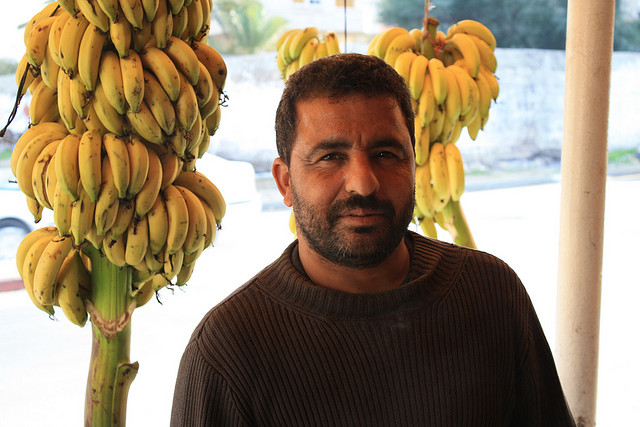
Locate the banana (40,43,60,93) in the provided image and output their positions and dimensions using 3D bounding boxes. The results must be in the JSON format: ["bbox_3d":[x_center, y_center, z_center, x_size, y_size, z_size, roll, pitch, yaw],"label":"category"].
[{"bbox_3d":[-1.436,-0.764,3.743,0.059,0.289,0.096,5,12,34],"label":"banana"}]

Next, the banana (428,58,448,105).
[{"bbox_3d":[0.761,-0.854,4.544,0.111,0.299,0.168,-2,6,1],"label":"banana"}]

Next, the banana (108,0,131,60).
[{"bbox_3d":[-1.046,-0.949,3.722,0.084,0.323,0.102,-20,17,-37],"label":"banana"}]

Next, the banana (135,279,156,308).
[{"bbox_3d":[-1.007,0.460,4.054,0.112,0.166,0.208,-4,6,-15],"label":"banana"}]

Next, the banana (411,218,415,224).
[{"bbox_3d":[0.583,0.045,4.425,0.007,0.036,0.031,6,5,26],"label":"banana"}]

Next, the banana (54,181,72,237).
[{"bbox_3d":[-1.351,-0.018,3.708,0.072,0.291,0.095,-1,-4,12],"label":"banana"}]

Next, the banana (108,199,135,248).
[{"bbox_3d":[-1.051,0.044,3.813,0.073,0.311,0.105,23,-12,-16],"label":"banana"}]

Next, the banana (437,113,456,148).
[{"bbox_3d":[0.833,-0.548,4.687,0.053,0.230,0.077,7,31,-7],"label":"banana"}]

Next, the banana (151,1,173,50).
[{"bbox_3d":[-0.835,-1.015,3.761,0.072,0.283,0.087,0,5,-1],"label":"banana"}]

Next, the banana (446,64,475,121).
[{"bbox_3d":[0.913,-0.793,4.619,0.078,0.314,0.160,-11,-7,38],"label":"banana"}]

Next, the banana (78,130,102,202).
[{"bbox_3d":[-1.199,-0.255,3.742,0.097,0.374,0.118,-8,-15,3],"label":"banana"}]

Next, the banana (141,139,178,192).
[{"bbox_3d":[-0.889,-0.268,3.914,0.074,0.258,0.202,10,24,35],"label":"banana"}]

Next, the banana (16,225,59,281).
[{"bbox_3d":[-1.578,0.202,3.901,0.225,0.291,0.086,-19,13,-22],"label":"banana"}]

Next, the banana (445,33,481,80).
[{"bbox_3d":[0.956,-1.023,4.670,0.095,0.438,0.223,-13,-31,-6],"label":"banana"}]

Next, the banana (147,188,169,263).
[{"bbox_3d":[-0.875,0.068,3.814,0.083,0.392,0.129,3,-6,-20],"label":"banana"}]

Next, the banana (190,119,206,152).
[{"bbox_3d":[-0.661,-0.447,3.960,0.074,0.214,0.048,11,-4,40],"label":"banana"}]

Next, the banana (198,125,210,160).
[{"bbox_3d":[-0.669,-0.412,4.105,0.053,0.190,0.061,9,5,-34],"label":"banana"}]

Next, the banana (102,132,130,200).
[{"bbox_3d":[-1.079,-0.256,3.759,0.105,0.349,0.146,-6,7,-33],"label":"banana"}]

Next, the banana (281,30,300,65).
[{"bbox_3d":[-0.195,-1.130,4.791,0.120,0.213,0.052,2,9,-32],"label":"banana"}]

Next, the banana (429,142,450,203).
[{"bbox_3d":[0.788,-0.276,4.694,0.102,0.383,0.117,-3,-20,-10],"label":"banana"}]

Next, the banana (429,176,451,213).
[{"bbox_3d":[0.815,-0.090,4.726,0.079,0.315,0.107,-19,17,9],"label":"banana"}]

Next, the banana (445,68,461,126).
[{"bbox_3d":[0.850,-0.758,4.532,0.081,0.336,0.100,-3,4,-21],"label":"banana"}]

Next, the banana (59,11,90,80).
[{"bbox_3d":[-1.281,-0.893,3.739,0.092,0.383,0.120,2,-15,5],"label":"banana"}]

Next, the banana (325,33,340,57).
[{"bbox_3d":[0.087,-1.150,4.770,0.098,0.157,0.131,-3,6,-5],"label":"banana"}]

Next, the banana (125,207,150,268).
[{"bbox_3d":[-0.976,0.147,3.842,0.082,0.337,0.104,11,-14,-13],"label":"banana"}]

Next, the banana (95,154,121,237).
[{"bbox_3d":[-1.109,-0.084,3.745,0.103,0.441,0.134,2,-6,-12],"label":"banana"}]

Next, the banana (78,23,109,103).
[{"bbox_3d":[-1.185,-0.824,3.762,0.091,0.432,0.145,6,-10,0],"label":"banana"}]

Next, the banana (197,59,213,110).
[{"bbox_3d":[-0.630,-0.706,3.869,0.071,0.265,0.095,-5,9,-20],"label":"banana"}]

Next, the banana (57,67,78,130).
[{"bbox_3d":[-1.342,-0.607,3.838,0.111,0.153,0.438,12,-19,-11],"label":"banana"}]

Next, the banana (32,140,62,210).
[{"bbox_3d":[-1.478,-0.208,3.749,0.086,0.326,0.229,6,7,-7],"label":"banana"}]

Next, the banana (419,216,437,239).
[{"bbox_3d":[0.734,0.096,4.799,0.095,0.174,0.042,-2,-3,14],"label":"banana"}]

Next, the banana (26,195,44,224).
[{"bbox_3d":[-1.558,-0.026,3.891,0.054,0.195,0.064,-7,12,23],"label":"banana"}]

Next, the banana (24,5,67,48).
[{"bbox_3d":[-1.500,-1.057,3.860,0.152,0.274,0.070,33,-35,-8],"label":"banana"}]

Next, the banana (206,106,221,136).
[{"bbox_3d":[-0.609,-0.524,4.106,0.053,0.210,0.068,14,-6,-31],"label":"banana"}]

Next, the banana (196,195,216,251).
[{"bbox_3d":[-0.625,0.054,4.013,0.063,0.245,0.183,0,3,17],"label":"banana"}]

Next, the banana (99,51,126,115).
[{"bbox_3d":[-1.100,-0.695,3.768,0.106,0.352,0.105,-11,-7,-27],"label":"banana"}]

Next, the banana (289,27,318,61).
[{"bbox_3d":[-0.103,-1.170,4.823,0.227,0.221,0.065,-6,7,-30],"label":"banana"}]

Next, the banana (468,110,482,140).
[{"bbox_3d":[1.044,-0.588,4.742,0.059,0.198,0.066,33,20,32],"label":"banana"}]

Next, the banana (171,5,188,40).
[{"bbox_3d":[-0.761,-1.040,3.836,0.054,0.207,0.077,3,17,-22],"label":"banana"}]

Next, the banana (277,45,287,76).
[{"bbox_3d":[-0.267,-1.062,4.878,0.040,0.202,0.066,-3,1,-34],"label":"banana"}]

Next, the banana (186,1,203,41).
[{"bbox_3d":[-0.692,-1.062,3.896,0.050,0.214,0.078,1,11,-7],"label":"banana"}]

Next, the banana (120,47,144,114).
[{"bbox_3d":[-0.978,-0.697,3.732,0.089,0.354,0.100,-5,-1,9],"label":"banana"}]

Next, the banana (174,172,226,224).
[{"bbox_3d":[-0.655,-0.113,3.966,0.178,0.310,0.084,-44,16,-7],"label":"banana"}]

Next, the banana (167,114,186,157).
[{"bbox_3d":[-0.779,-0.449,3.882,0.091,0.306,0.099,-27,-48,22],"label":"banana"}]

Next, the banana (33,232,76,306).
[{"bbox_3d":[-1.436,0.309,3.806,0.226,0.399,0.096,-4,6,-19],"label":"banana"}]

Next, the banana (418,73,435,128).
[{"bbox_3d":[0.679,-0.727,4.543,0.079,0.332,0.099,4,1,3],"label":"banana"}]

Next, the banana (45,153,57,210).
[{"bbox_3d":[-1.391,-0.161,3.724,0.056,0.269,0.091,1,5,3],"label":"banana"}]

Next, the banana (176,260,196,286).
[{"bbox_3d":[-0.772,0.348,4.066,0.058,0.200,0.068,15,13,-20],"label":"banana"}]

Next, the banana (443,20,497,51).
[{"bbox_3d":[1.021,-1.212,4.743,0.246,0.232,0.089,14,49,14],"label":"banana"}]

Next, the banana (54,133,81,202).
[{"bbox_3d":[-1.323,-0.239,3.727,0.136,0.353,0.114,-4,6,-19],"label":"banana"}]

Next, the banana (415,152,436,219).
[{"bbox_3d":[0.693,-0.170,4.748,0.105,0.490,0.150,-8,-11,9],"label":"banana"}]

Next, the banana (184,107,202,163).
[{"bbox_3d":[-0.709,-0.432,3.910,0.064,0.301,0.106,9,1,-18],"label":"banana"}]

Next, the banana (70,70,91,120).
[{"bbox_3d":[-1.262,-0.614,3.727,0.069,0.256,0.081,-7,-5,13],"label":"banana"}]

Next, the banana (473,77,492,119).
[{"bbox_3d":[1.081,-0.775,4.694,0.073,0.294,0.095,1,0,-32],"label":"banana"}]

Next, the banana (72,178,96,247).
[{"bbox_3d":[-1.229,0.009,3.764,0.089,0.393,0.132,4,-7,-3],"label":"banana"}]
